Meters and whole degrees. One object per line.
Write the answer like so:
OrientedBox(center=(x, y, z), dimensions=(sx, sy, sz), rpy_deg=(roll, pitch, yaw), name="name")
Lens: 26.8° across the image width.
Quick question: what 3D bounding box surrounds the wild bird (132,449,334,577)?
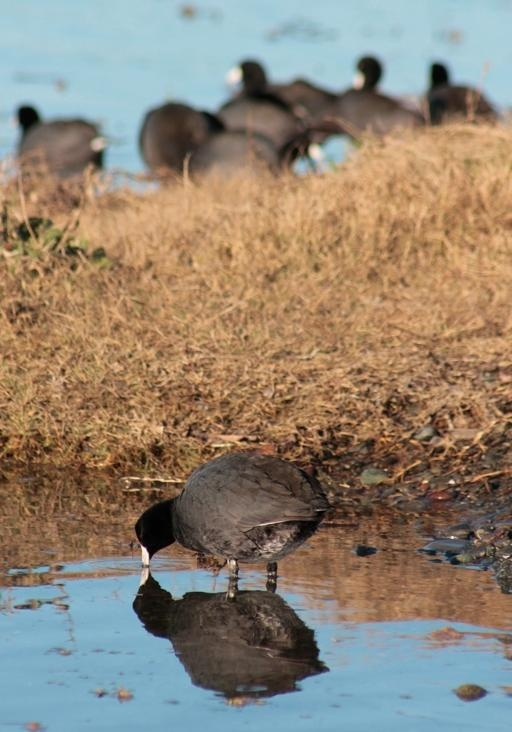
OrientedBox(center=(-0.133, 0.853, 5.790), dimensions=(1.219, 0.754, 0.599), rpy_deg=(-13, -3, 29), name="wild bird")
